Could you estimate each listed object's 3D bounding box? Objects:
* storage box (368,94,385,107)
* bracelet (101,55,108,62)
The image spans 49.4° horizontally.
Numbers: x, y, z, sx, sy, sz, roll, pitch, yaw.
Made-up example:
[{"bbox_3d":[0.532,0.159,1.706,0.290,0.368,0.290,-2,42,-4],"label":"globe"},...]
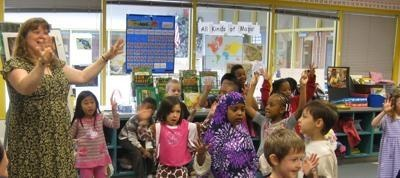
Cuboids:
[{"bbox_3d":[4.770,0.335,11.759,0.367,0.245,0.298,0,3,-25],"label":"storage box"},{"bbox_3d":[-1.820,-0.572,8.305,0.022,0.088,0.089,-46,19,-19],"label":"bracelet"}]
